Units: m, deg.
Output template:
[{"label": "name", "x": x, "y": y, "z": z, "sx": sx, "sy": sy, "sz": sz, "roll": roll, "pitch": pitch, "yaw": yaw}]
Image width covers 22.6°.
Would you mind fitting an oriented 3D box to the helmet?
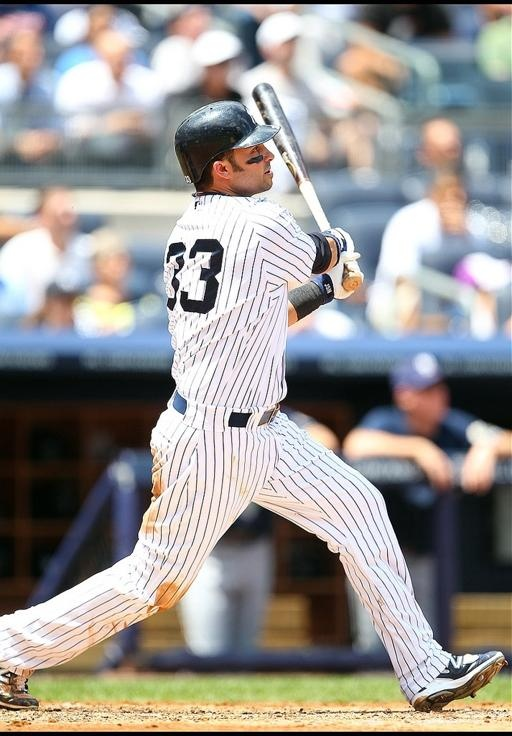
[{"label": "helmet", "x": -0.098, "y": -0.542, "z": 3.017, "sx": 0.247, "sy": 0.133, "sz": 0.164, "roll": -26, "pitch": 18, "yaw": 3}]
